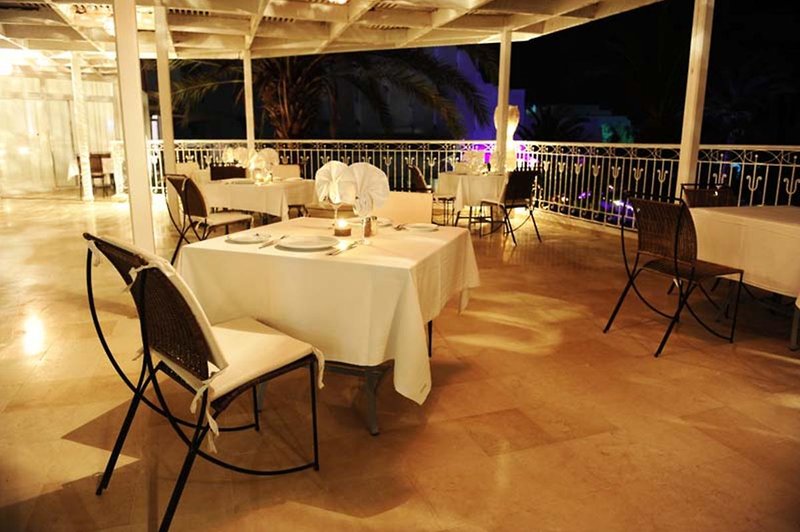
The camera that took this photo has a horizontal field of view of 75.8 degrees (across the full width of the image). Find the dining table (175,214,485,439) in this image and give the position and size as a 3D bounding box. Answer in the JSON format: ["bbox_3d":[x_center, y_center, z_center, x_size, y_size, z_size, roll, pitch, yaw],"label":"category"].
[{"bbox_3d":[-0.230,0.060,3.586,1.436,0.734,1.484,6,16,21],"label":"dining table"}]
